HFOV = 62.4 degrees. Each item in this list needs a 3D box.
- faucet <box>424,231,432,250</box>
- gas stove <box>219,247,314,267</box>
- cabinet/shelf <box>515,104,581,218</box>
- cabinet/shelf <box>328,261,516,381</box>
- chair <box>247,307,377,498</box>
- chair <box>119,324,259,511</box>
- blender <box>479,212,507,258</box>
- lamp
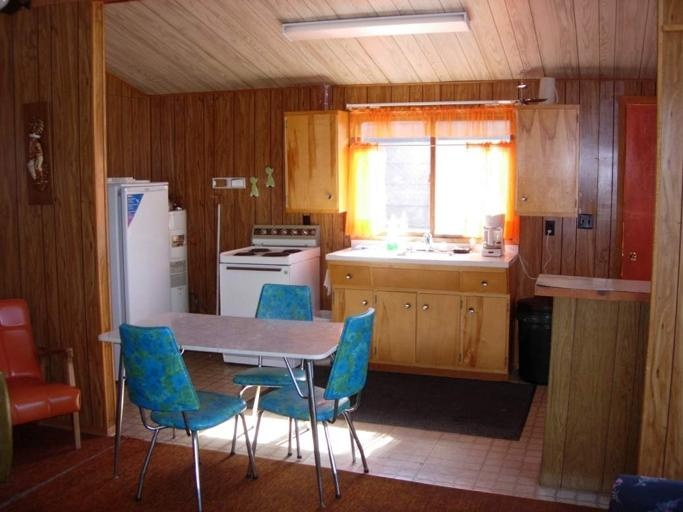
[{"bbox_3d":[0.930,-0.172,6.065,0.079,0.180,0.295,1,10,8],"label":"faucet"},{"bbox_3d":[-0.795,-0.019,6.228,0.880,0.125,0.812,2,10,16],"label":"gas stove"},{"bbox_3d":[2.008,-0.949,5.580,0.728,1.104,0.739,2,4,-6],"label":"cabinet/shelf"},{"bbox_3d":[0.830,0.574,5.895,1.841,1.233,0.686,2,13,14],"label":"cabinet/shelf"},{"bbox_3d":[-0.178,0.956,3.798,0.725,1.166,0.573,1,1,26],"label":"chair"},{"bbox_3d":[-1.112,0.954,3.672,0.773,1.209,0.595,5,11,31],"label":"chair"},{"bbox_3d":[1.516,-0.218,5.605,0.205,0.399,0.295,2,10,17],"label":"blender"},{"bbox_3d":[0.278,-2.082,5.040,1.691,0.178,0.262,2,10,16],"label":"lamp"}]
